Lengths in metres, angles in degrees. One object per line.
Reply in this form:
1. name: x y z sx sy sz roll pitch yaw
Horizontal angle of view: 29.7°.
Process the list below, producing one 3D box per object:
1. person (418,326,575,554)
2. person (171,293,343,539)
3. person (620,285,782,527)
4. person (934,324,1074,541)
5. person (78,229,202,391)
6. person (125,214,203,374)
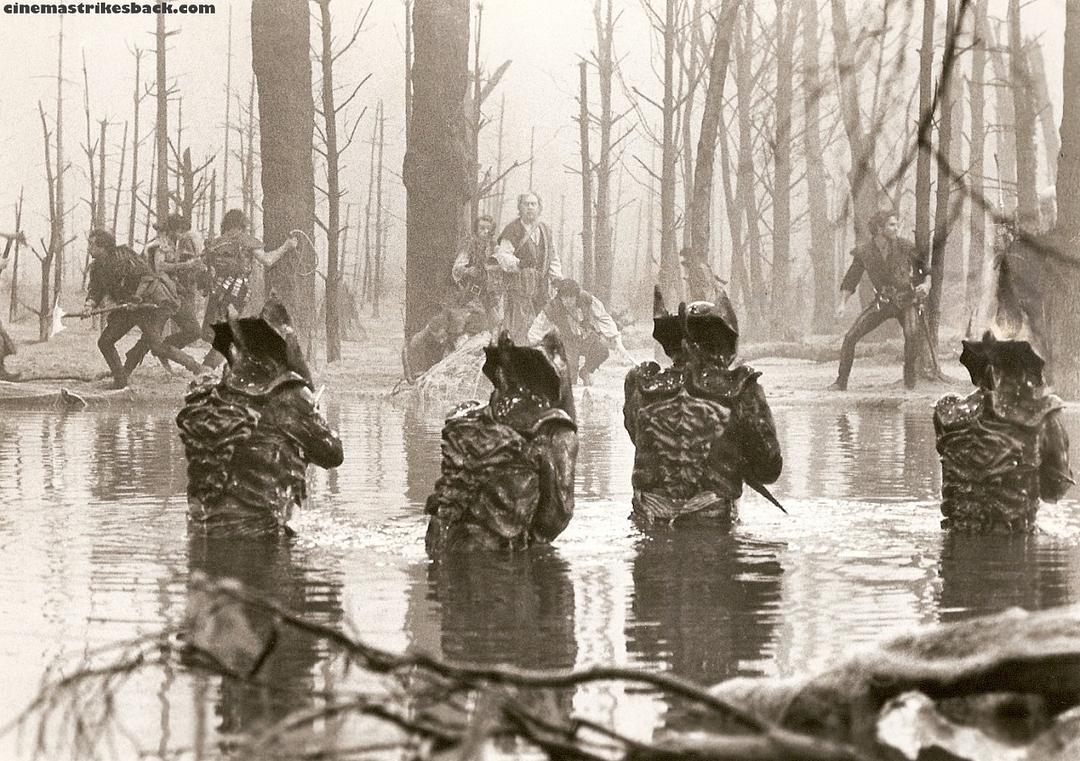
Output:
1. person: -0.195 0.461 14.288 1.182 1.691 1.142 4 5 14
2. person: -1.995 0.254 14.394 1.098 1.683 0.418 -3 -2 -7
3. person: 1.189 0.374 15.116 1.279 1.867 1.100 3 5 -6
4. person: 3.236 0.357 14.305 0.841 1.092 0.381 -3 -2 9
5. person: -5.044 -0.883 24.793 0.897 1.874 1.606 -4 -2 19
6. person: -4.682 -1.111 25.632 0.887 2.063 0.843 -1 6 -28
